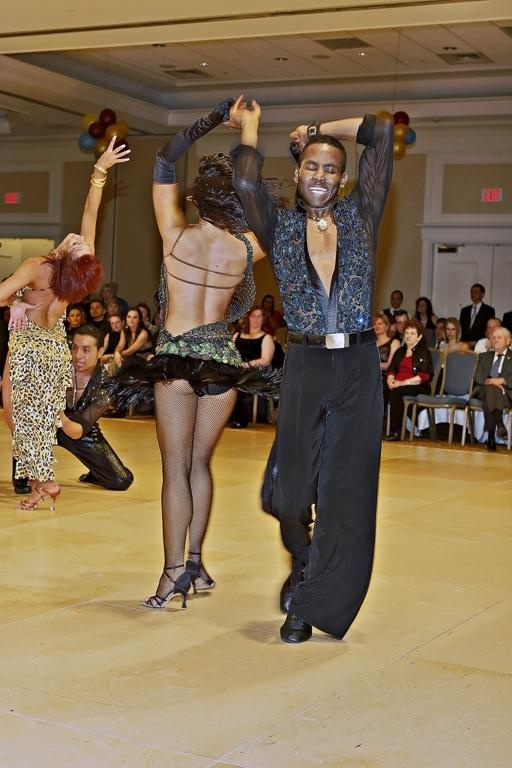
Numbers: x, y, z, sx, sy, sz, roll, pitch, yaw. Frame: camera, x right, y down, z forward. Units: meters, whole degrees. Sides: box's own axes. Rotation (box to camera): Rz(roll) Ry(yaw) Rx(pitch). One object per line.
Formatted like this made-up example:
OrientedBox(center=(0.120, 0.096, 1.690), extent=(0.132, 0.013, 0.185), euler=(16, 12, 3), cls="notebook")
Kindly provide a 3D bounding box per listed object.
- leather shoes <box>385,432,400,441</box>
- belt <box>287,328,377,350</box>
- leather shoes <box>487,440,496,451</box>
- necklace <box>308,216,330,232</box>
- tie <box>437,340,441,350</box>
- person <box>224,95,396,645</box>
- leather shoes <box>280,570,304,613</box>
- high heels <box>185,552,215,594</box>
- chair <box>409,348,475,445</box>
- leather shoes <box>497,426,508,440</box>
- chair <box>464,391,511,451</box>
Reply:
OrientedBox(center=(1.874, 0.728, 8.686), extent=(0.083, 0.093, 0.243), euler=(0, -7, 38), cls="leather shoes")
OrientedBox(center=(0.229, -0.131, 1.922), extent=(0.267, 0.074, 0.175), euler=(2, -5, 4), cls="belt")
OrientedBox(center=(2.997, 0.774, 8.038), extent=(0.104, 0.126, 0.128), euler=(-5, 4, 8), cls="leather shoes")
OrientedBox(center=(0.185, -0.459, 1.823), extent=(0.047, 0.047, 0.019), euler=(-5, -1, -1), cls="necklace")
OrientedBox(center=(2.874, -0.608, 9.930), extent=(0.102, 0.148, 0.059), euler=(-6, -34, 23), cls="tie")
OrientedBox(center=(0.135, -0.067, 1.934), extent=(0.503, 1.660, 0.374), euler=(2, -5, 10), cls="person")
OrientedBox(center=(0.122, 0.730, 2.231), extent=(0.074, 0.083, 0.227), euler=(-2, 11, 7), cls="leather shoes")
OrientedBox(center=(-0.234, 0.768, 2.553), extent=(0.076, 0.114, 0.234), euler=(-1, -8, 10), cls="high heels")
OrientedBox(center=(2.563, 0.129, 8.571), extent=(0.832, 1.109, 0.692), euler=(-2, 5, -37), cls="chair")
OrientedBox(center=(3.201, 0.629, 8.236), extent=(0.102, 0.107, 0.237), euler=(-10, -34, 9), cls="leather shoes")
OrientedBox(center=(3.067, 0.533, 8.514), extent=(0.615, 0.895, 0.702), euler=(-2, -12, 22), cls="chair")
